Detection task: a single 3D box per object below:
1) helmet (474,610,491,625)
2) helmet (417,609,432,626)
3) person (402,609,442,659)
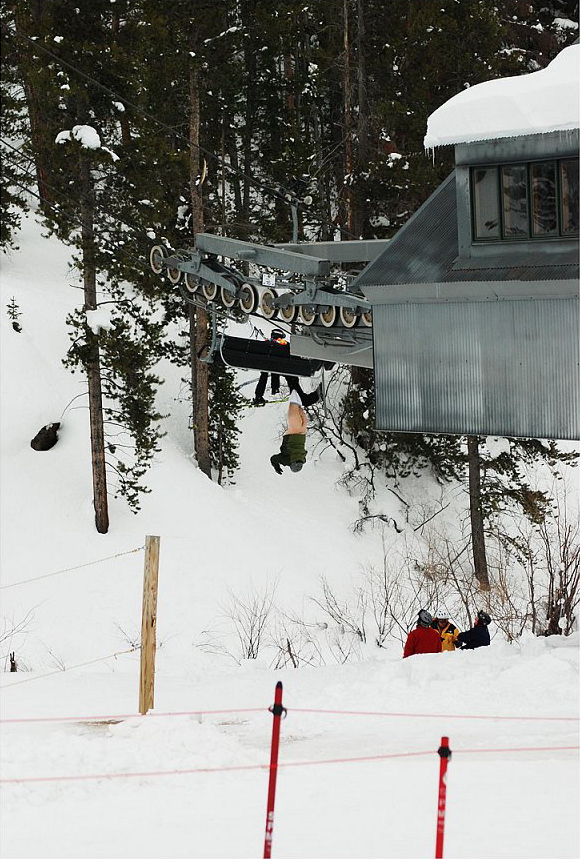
[{"bbox_3d":[3.017,2.884,20.711,0.197,0.240,0.172,2,-13,2],"label":"helmet"},{"bbox_3d":[2.046,2.852,20.258,0.207,0.317,0.293,6,-5,3],"label":"helmet"},{"bbox_3d":[2.025,3.068,20.333,0.535,0.743,0.760,2,6,7],"label":"person"}]
